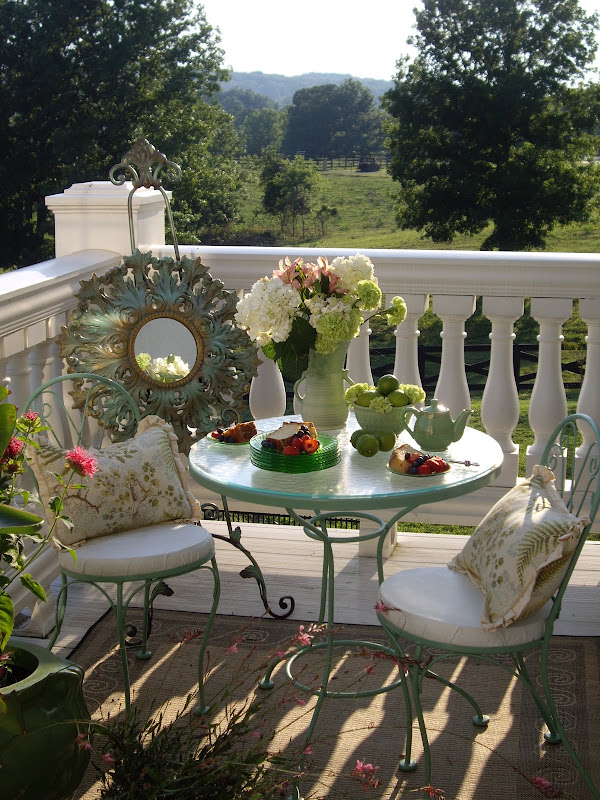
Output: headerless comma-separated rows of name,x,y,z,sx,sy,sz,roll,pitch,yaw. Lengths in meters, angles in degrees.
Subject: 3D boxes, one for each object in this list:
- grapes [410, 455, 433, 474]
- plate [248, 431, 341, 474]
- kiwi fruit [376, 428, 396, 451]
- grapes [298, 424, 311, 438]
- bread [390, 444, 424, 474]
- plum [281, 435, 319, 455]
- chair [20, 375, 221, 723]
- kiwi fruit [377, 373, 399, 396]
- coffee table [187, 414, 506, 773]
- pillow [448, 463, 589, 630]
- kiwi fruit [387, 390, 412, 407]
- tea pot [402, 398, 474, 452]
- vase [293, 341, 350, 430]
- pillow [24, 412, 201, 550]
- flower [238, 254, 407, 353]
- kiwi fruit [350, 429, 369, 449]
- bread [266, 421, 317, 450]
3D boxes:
grapes,0.314,0.171,2.043,0.046,0.017,0.043,-4,47,28
plate,-0.003,0.129,2.147,0.256,0.081,0.243,0,10,10
kiwi fruit,0.242,0.111,2.220,0.057,0.055,0.058,2,11,-11
grapes,0.017,0.085,2.142,0.031,0.012,0.029,7,45,-16
bread,0.278,0.155,2.098,0.064,0.027,0.078,-1,24,0
plum,0.002,0.114,2.111,0.056,0.029,0.072,-8,9,7
chair,-0.551,0.427,2.459,0.532,0.957,0.586,-5,11,-39
kiwi fruit,0.257,-0.047,2.317,0.061,0.064,0.060,6,4,5
coffee table,0.032,0.495,2.438,1.009,0.940,1.021,0,10,8
pillow,0.521,0.352,1.924,0.262,0.296,0.398,-1,15,3
kiwi fruit,0.285,-0.001,2.254,0.052,0.057,0.049,-4,11,-15
tea pot,0.388,0.073,2.263,0.195,0.132,0.118,6,19,20
vase,0.078,-0.060,2.431,0.183,0.264,0.198,15,25,39
pillow,-0.573,0.272,2.516,0.185,0.403,0.552,1,5,45
flower,0.067,-0.276,2.289,0.482,0.276,0.264,-9,16,-26
kiwi fruit,0.160,0.107,2.224,0.048,0.051,0.047,-5,26,-26
bread,-0.026,0.100,2.140,0.092,0.036,0.096,5,14,35
